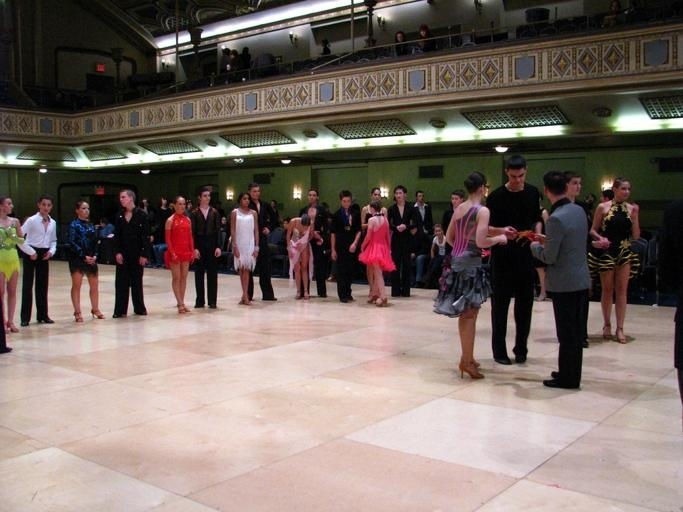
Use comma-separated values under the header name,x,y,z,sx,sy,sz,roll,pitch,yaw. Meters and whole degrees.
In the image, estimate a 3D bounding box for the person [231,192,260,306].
name,x,y,z,sx,sy,sz,roll,pitch,yaw
person,-1.747,-0.135,10.592,0.485,2.018,0.398,-1,3,-10

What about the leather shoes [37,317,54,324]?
name,x,y,z,sx,sy,sz,roll,pitch,yaw
leather shoes,-4.562,0.991,8.958,0.276,0.113,0.094,0,0,-17

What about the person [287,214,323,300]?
name,x,y,z,sx,sy,sz,roll,pitch,yaw
person,-0.741,-0.071,11.379,0.633,1.756,0.523,0,3,-3

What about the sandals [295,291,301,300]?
name,x,y,z,sx,sy,sz,roll,pitch,yaw
sandals,-0.853,0.766,11.389,0.141,0.168,0.424,0,-4,-5

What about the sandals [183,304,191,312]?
name,x,y,z,sx,sy,sz,roll,pitch,yaw
sandals,-2.646,0.898,9.907,0.092,0.127,0.301,-8,-9,-32

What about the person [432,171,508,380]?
name,x,y,z,sx,sy,sz,roll,pitch,yaw
person,1.308,0.205,5.947,0.659,2.119,0.377,1,4,14

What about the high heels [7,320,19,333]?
name,x,y,z,sx,sy,sz,roll,pitch,yaw
high heels,-4.699,1.006,8.279,0.225,0.093,0.102,-1,-3,44

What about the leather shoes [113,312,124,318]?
name,x,y,z,sx,sy,sz,roll,pitch,yaw
leather shoes,-3.563,0.946,9.286,0.202,0.090,0.070,0,1,-19

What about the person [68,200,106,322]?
name,x,y,z,sx,sy,sz,roll,pitch,yaw
person,-4.162,0.050,9.430,0.486,1.879,1.239,-2,3,-24

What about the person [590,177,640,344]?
name,x,y,z,sx,sy,sz,roll,pitch,yaw
person,3.672,0.039,7.761,0.517,2.147,0.747,3,4,40

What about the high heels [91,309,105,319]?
name,x,y,z,sx,sy,sz,roll,pitch,yaw
high heels,-3.944,0.919,9.308,0.338,0.150,0.117,-4,-3,36

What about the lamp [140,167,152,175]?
name,x,y,z,sx,sy,sz,roll,pitch,yaw
lamp,-8.072,-3.545,23.915,0.578,0.172,0.579,1,-5,-22

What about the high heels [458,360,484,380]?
name,x,y,z,sx,sy,sz,roll,pitch,yaw
high heels,1.338,1.176,6.050,0.313,0.243,0.130,-3,6,-3

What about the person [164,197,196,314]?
name,x,y,z,sx,sy,sz,roll,pitch,yaw
person,-2.783,-0.051,10.020,0.502,1.965,1.008,-1,3,-17

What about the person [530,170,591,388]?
name,x,y,z,sx,sy,sz,roll,pitch,yaw
person,2.189,0.227,5.724,0.487,2.135,0.656,2,4,32

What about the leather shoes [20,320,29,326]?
name,x,y,z,sx,sy,sz,roll,pitch,yaw
leather shoes,-4.753,1.014,8.710,0.166,0.073,0.056,2,-1,30

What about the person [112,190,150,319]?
name,x,y,z,sx,sy,sz,roll,pitch,yaw
person,-3.412,-0.051,9.391,0.581,2.052,0.432,-2,4,-22

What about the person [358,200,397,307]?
name,x,y,z,sx,sy,sz,roll,pitch,yaw
person,0.651,-0.068,10.593,0.616,1.888,0.898,0,3,4

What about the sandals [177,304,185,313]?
name,x,y,z,sx,sy,sz,roll,pitch,yaw
sandals,-2.669,0.875,9.669,0.109,0.145,0.166,-1,3,-15
